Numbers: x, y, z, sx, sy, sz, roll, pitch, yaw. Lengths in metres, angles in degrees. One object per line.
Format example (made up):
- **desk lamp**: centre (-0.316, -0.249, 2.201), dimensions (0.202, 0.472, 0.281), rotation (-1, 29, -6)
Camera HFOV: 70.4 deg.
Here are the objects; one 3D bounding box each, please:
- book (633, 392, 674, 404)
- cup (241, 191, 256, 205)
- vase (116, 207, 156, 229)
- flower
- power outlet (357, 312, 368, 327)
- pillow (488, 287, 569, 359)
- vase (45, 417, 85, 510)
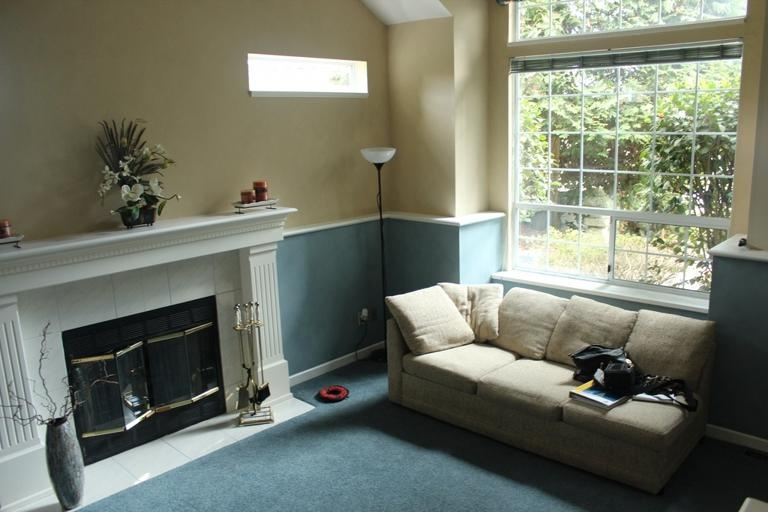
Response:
- **book**: centre (2.158, 1.142, 4.362), dimensions (0.313, 0.048, 0.089), rotation (3, 13, 17)
- **cup**: centre (-1.261, -0.536, 5.055), dimensions (0.133, 0.123, 0.118), rotation (2, 3, -15)
- **vase**: centre (-2.057, -0.315, 4.564), dimensions (0.318, 0.164, 0.172), rotation (-5, 12, -34)
- **flower**: centre (-2.097, -0.701, 4.604), dimensions (0.626, 0.886, 0.360), rotation (-7, 14, -24)
- **power outlet**: centre (-0.256, 0.714, 6.208), dimensions (0.087, 0.165, 0.170), rotation (4, 5, 31)
- **pillow**: centre (1.380, 0.631, 5.235), dimensions (0.655, 0.629, 0.205), rotation (20, -8, 39)
- **vase**: centre (-2.500, 1.612, 4.244), dimensions (0.237, 0.725, 0.208), rotation (-7, 14, -25)
